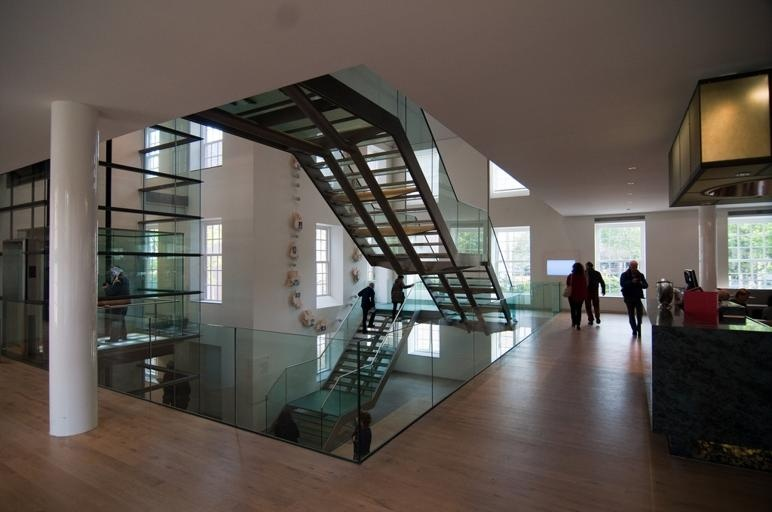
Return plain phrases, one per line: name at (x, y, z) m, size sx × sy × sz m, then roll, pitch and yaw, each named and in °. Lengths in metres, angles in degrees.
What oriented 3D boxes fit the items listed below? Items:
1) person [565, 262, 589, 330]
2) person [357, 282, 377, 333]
person at (4.483, 0.961, 12.045) m, size 0.458 × 1.570 × 0.670 m, roll 5°, pitch 12°, yaw 22°
person at (-0.440, 1.244, 12.019) m, size 0.394 × 1.133 × 1.038 m, roll 0°, pitch 11°, yaw -2°
